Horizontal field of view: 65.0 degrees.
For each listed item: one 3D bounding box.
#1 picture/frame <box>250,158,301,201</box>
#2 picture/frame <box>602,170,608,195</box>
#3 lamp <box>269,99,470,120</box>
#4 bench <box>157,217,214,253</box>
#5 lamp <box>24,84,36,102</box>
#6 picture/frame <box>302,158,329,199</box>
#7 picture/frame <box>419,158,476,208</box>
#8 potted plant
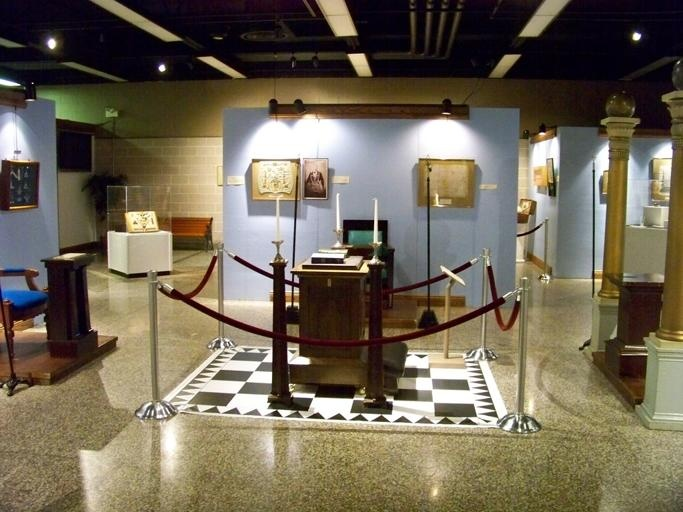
[{"bbox_3d":[-1.028,-1.250,8.605,0.976,0.870,0.082,1,7,4],"label":"picture/frame"},{"bbox_3d":[5.330,-1.493,10.894,0.079,0.505,0.349,2,8,17],"label":"picture/frame"},{"bbox_3d":[0.419,-2.304,8.442,3.161,0.311,0.245,0,7,3],"label":"lamp"},{"bbox_3d":[-4.104,-0.616,14.235,1.146,0.736,0.493,0,10,1],"label":"bench"},{"bbox_3d":[-4.379,-2.312,7.549,0.129,0.255,0.349,-3,8,-23],"label":"lamp"},{"bbox_3d":[-0.433,-1.266,8.619,0.592,0.889,0.042,2,2,0],"label":"picture/frame"},{"bbox_3d":[1.677,-1.188,8.473,0.807,0.711,0.063,-1,9,-1],"label":"picture/frame"},{"bbox_3d":[-6.655,-1.289,15.069,1.005,2.130,0.637,2,8,17],"label":"potted plant"}]
